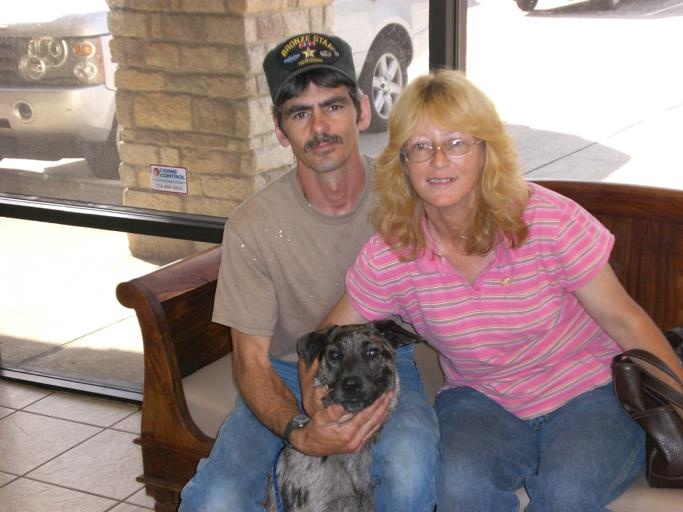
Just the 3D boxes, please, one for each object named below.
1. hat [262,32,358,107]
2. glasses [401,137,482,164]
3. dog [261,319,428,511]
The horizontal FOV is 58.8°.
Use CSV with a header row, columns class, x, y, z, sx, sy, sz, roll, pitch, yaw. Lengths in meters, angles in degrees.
class,x,y,z,sx,sy,sz,roll,pitch,yaw
hat,-0.165,-0.897,2.882,0.316,0.202,0.401,-14,-29,1
glasses,0.407,-0.420,2.427,0.308,0.096,0.104,0,16,10
dog,-0.001,0.651,2.464,0.489,0.697,0.543,6,18,27
